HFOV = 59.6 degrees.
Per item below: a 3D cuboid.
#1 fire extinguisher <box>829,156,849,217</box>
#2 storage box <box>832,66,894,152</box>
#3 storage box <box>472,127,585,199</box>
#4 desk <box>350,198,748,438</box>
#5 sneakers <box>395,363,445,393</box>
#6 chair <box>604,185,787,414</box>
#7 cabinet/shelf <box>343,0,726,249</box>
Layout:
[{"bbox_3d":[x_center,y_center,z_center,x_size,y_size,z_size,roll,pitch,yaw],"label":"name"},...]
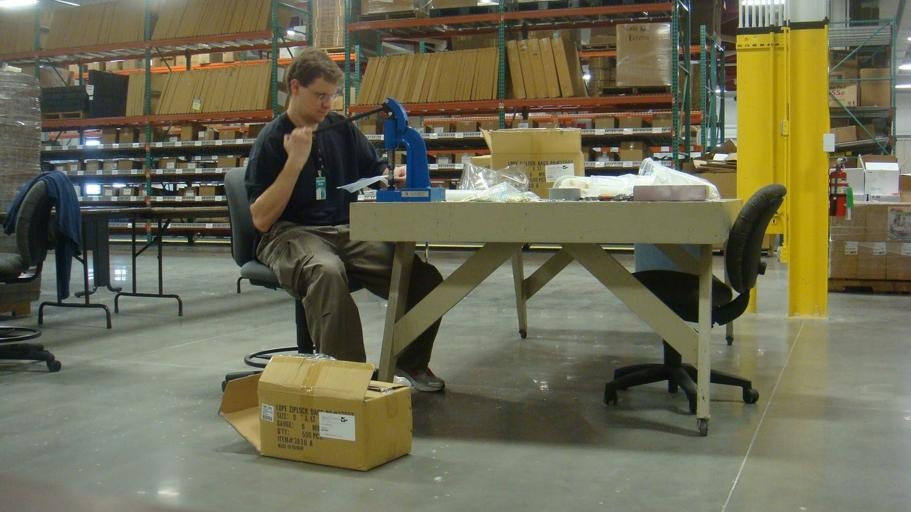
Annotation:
[{"bbox_3d":[3.533,-0.630,7.361,0.163,0.492,0.163,1,10,24],"label":"fire extinguisher"},{"bbox_3d":[6.367,-2.325,12.515,0.904,1.367,1.296,2,10,28],"label":"storage box"},{"bbox_3d":[0.617,-0.641,6.101,0.695,0.466,0.584,0,4,16],"label":"storage box"},{"bbox_3d":[0.679,0.323,5.596,1.983,1.021,1.936,1,5,16],"label":"desk"},{"bbox_3d":[-0.240,0.884,5.763,0.370,0.154,0.147,3,-2,3],"label":"sneakers"},{"bbox_3d":[1.750,0.254,5.760,1.100,1.489,1.087,3,2,25],"label":"chair"},{"bbox_3d":[0.808,-1.560,8.526,3.977,3.400,1.202,-1,0,13],"label":"cabinet/shelf"}]
